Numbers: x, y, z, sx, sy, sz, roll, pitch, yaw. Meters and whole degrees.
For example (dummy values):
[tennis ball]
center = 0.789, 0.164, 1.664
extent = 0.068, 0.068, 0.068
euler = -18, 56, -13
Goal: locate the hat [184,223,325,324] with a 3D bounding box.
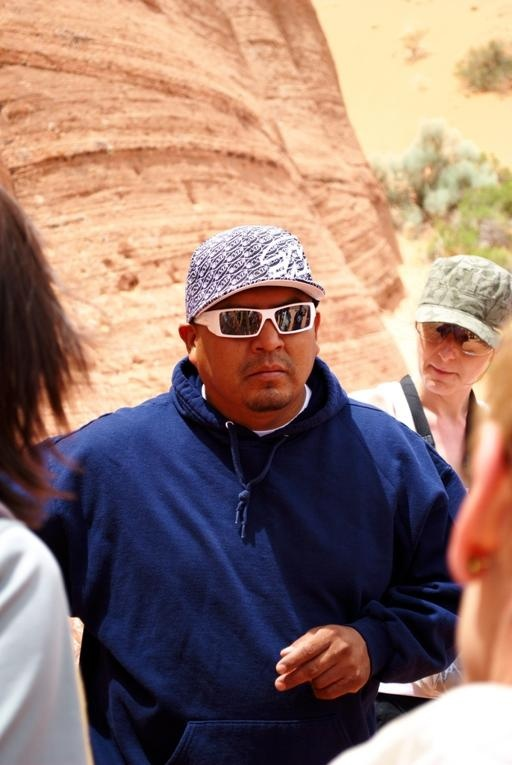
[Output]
[hat]
center = -0.015, -0.291, 1.917
extent = 0.277, 0.142, 0.283
euler = -4, -6, -20
